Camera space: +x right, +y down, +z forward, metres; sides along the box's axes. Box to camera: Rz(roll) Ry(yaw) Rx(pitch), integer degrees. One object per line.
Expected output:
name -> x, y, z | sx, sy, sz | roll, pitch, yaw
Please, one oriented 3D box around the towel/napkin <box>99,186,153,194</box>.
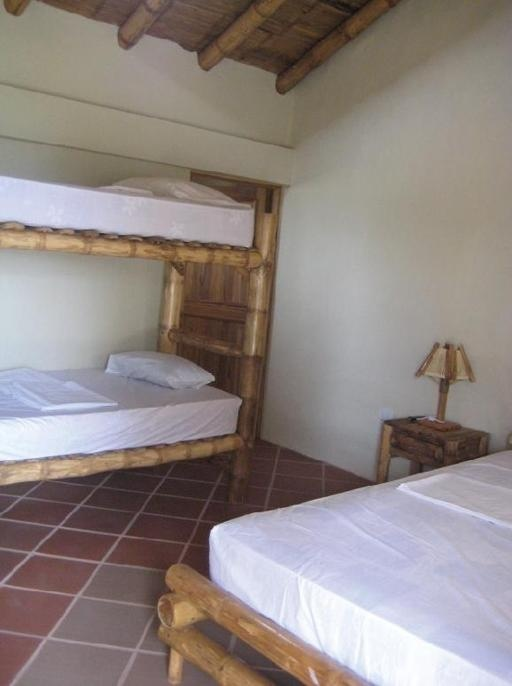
towel/napkin -> -0.746, -0.889, 3.124 | 0.186, 0.036, 0.156 | 0, 13, -22
